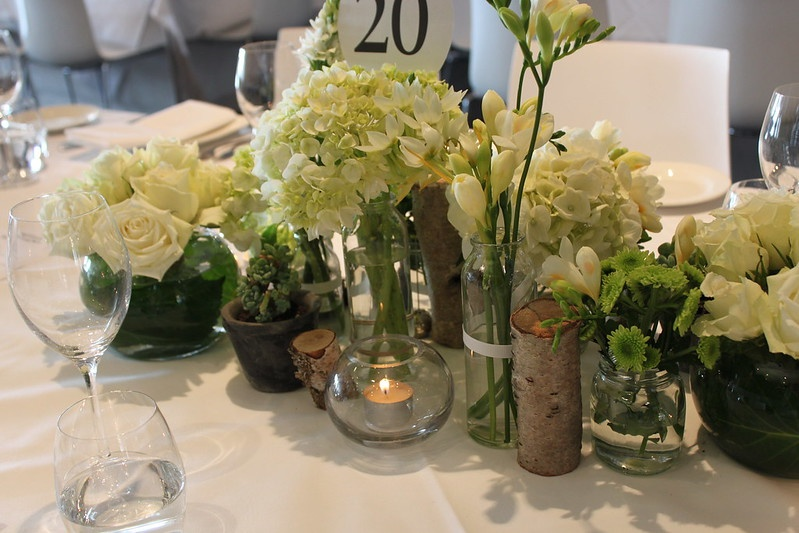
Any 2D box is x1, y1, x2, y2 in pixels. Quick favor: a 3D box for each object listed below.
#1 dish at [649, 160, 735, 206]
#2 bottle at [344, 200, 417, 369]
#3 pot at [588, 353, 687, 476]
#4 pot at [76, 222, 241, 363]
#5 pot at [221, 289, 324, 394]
[{"bbox_3d":[0.623,-0.175,1.411,0.164,0.025,0.168,-14,29,-11],"label":"dish"},{"bbox_3d":[-0.048,0.060,1.046,0.088,0.093,0.233,-1,44,16],"label":"bottle"},{"bbox_3d":[0.328,0.198,0.910,0.134,0.150,0.107,-2,10,14],"label":"pot"},{"bbox_3d":[-0.365,0.051,1.160,0.139,0.145,0.142,-3,-20,-1],"label":"pot"},{"bbox_3d":[-0.208,0.135,1.092,0.151,0.129,0.155,-1,11,0],"label":"pot"}]
